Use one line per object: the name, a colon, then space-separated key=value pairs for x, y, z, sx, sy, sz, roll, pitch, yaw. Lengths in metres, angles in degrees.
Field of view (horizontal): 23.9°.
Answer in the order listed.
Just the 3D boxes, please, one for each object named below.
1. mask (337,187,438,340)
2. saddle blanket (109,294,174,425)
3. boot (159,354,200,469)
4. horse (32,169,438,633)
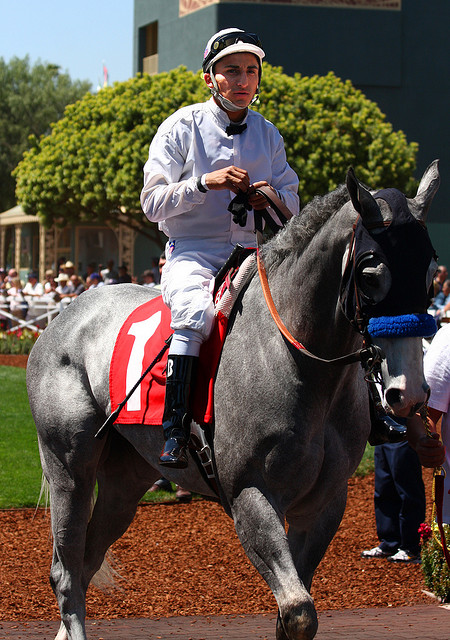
mask: x=0.528 y=-0.186 z=3.464 sx=0.305 sy=0.487 sz=0.290 roll=0 pitch=4 yaw=6
saddle blanket: x=-0.350 y=0.188 z=4.440 sx=0.059 sy=0.591 sz=0.514 roll=16 pitch=-14 yaw=-30
boot: x=-0.187 y=0.351 z=4.040 sx=0.135 sy=0.433 sz=0.250 roll=0 pitch=4 yaw=8
horse: x=-0.001 y=0.403 z=4.201 sx=0.716 sy=1.872 sz=2.105 roll=-3 pitch=5 yaw=-36
